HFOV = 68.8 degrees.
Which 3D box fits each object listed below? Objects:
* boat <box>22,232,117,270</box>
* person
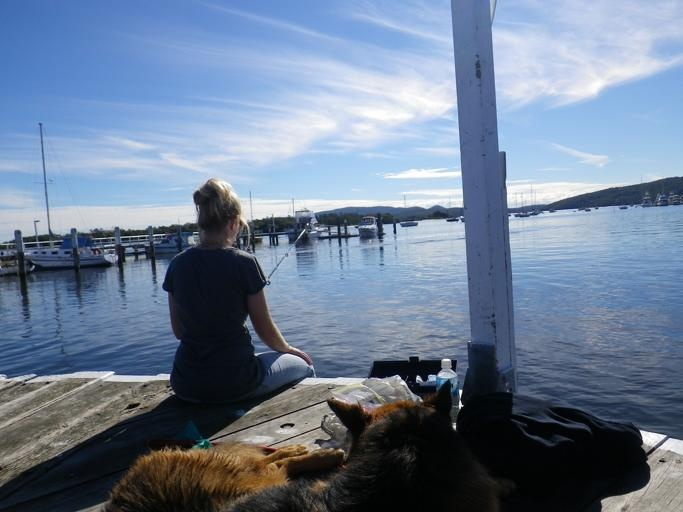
[{"bbox_3d":[-20.971,-0.314,37.752,5.968,1.766,2.137,-4,14,-41],"label":"boat"},{"bbox_3d":[-0.778,0.326,3.760,0.985,1.748,0.897,1,5,-25],"label":"person"}]
